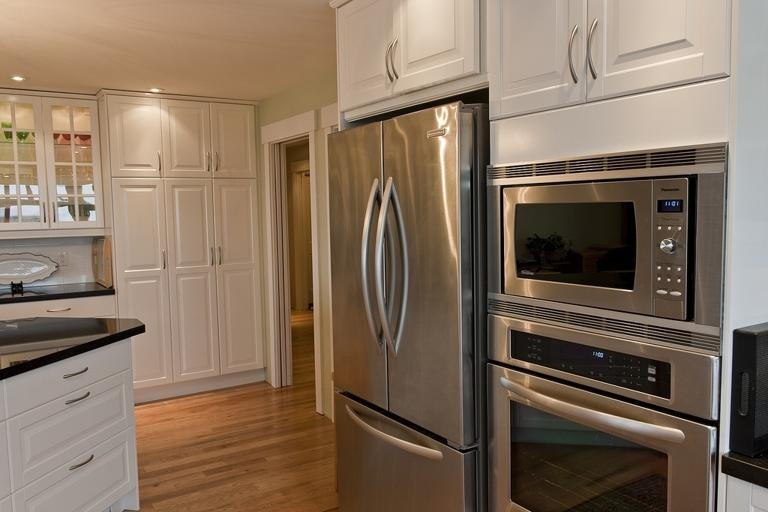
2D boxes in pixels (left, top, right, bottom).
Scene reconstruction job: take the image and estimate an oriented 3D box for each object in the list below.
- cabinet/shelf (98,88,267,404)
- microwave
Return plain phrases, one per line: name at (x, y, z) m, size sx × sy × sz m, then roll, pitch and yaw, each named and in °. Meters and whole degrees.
cabinet/shelf at (-1.783, -0.157, 5.123) m, size 1.307 × 2.594 × 0.448 m, roll -4°, pitch 9°, yaw -17°
microwave at (1.036, -0.079, 2.302) m, size 0.635 × 0.690 × 1.055 m, roll -7°, pitch 8°, yaw -30°
